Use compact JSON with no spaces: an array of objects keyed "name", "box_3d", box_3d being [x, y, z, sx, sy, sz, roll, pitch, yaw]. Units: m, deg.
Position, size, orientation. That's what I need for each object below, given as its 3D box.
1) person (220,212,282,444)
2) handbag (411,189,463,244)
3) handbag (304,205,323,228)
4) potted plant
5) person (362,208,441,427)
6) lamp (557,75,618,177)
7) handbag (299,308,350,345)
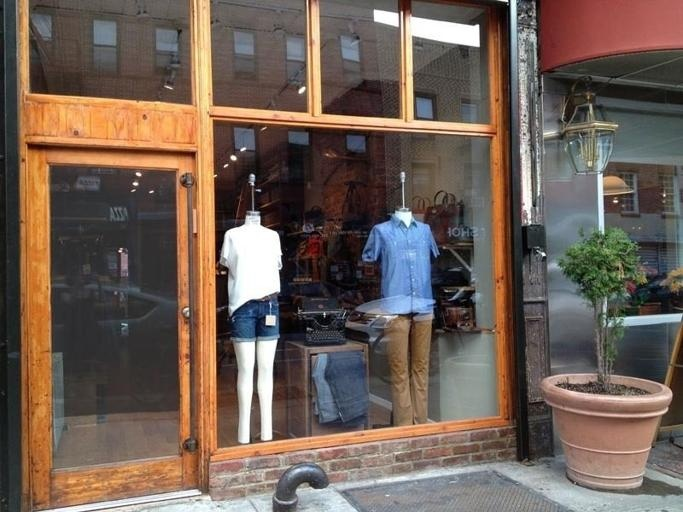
[{"name":"person","box_3d":[-0.664,0.536,5.151,0.491,1.712,0.355,-2,8,-20]},{"name":"handbag","box_3d":[0.785,-0.337,5.668,0.403,0.406,0.177,1,14,5]},{"name":"handbag","box_3d":[-0.220,-0.318,5.523,0.167,0.126,0.153,-2,-2,29]},{"name":"potted plant","box_3d":[2.093,0.754,5.357,0.920,1.922,1.005,3,8,17]},{"name":"person","box_3d":[0.485,0.493,5.539,0.551,1.714,0.417,0,8,-2]},{"name":"lamp","box_3d":[2.132,-1.138,5.889,0.480,0.835,0.262,-3,8,-23]},{"name":"handbag","box_3d":[-0.114,0.556,5.481,0.405,0.316,0.270,-2,0,12]}]
